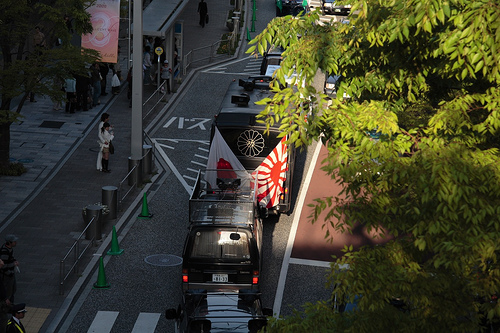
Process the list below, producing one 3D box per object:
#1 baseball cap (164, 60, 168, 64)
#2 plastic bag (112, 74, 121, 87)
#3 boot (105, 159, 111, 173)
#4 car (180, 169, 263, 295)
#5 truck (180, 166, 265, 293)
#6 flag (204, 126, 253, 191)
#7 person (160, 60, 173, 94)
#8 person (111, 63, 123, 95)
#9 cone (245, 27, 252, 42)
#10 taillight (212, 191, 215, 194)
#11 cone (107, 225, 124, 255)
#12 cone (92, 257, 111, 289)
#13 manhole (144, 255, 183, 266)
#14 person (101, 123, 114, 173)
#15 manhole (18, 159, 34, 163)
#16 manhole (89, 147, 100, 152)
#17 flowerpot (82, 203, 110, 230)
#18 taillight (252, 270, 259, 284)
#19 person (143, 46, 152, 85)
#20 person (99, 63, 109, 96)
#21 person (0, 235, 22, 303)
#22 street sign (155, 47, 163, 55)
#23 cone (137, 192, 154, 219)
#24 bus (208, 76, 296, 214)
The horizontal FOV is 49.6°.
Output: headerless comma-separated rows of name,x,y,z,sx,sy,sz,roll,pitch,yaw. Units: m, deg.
baseball cap,-4.579,-5.747,29.492,0.214,0.170,0.309,3,19,-9
plastic bag,-7.264,-4.686,29.236,0.363,0.641,0.370,2,18,-13
boot,-5.750,-0.086,21.881,0.180,0.552,0.294,2,18,-10
car,-0.740,1.503,14.691,1.895,2.110,3.600,1,51,-1
truck,-0.723,1.472,15.033,2.018,2.184,3.786,2,42,-2
flag,-0.629,-0.260,17.540,1.807,2.080,0.211,3,2,3
person,-4.626,-4.923,29.608,0.642,1.803,0.991,6,18,2
person,-7.410,-4.835,30.042,0.656,2.125,0.658,3,60,-7
cone,-0.143,-10.212,41.755,0.682,0.829,0.631,13,46,19
taillight,-1.061,0.745,15.719,0.059,0.067,0.015,3,-8,-7
cone,-4.287,2.381,17.202,0.489,0.893,0.553,4,24,6
cone,-4.173,2.926,15.215,0.494,1.025,0.510,-7,22,-34
manhole,-2.680,2.854,16.585,1.136,0.108,0.560,5,19,-5
person,-5.713,-0.795,21.533,0.436,2.112,0.729,0,18,-16
manhole,-9.298,-0.254,22.381,0.599,0.057,0.328,4,19,-8
manhole,-6.808,-0.777,23.766,0.274,0.060,0.293,2,25,3
flowerpot,-5.162,1.584,18.058,0.872,0.710,0.888,2,24,1
taillight,0.153,2.781,13.624,0.154,0.347,0.067,4,17,-5
person,-5.898,-5.830,31.163,0.472,2.125,0.994,2,18,-12
person,-7.873,-4.713,29.074,0.421,1.544,1.597,-10,66,-12
person,-6.082,2.765,13.680,0.398,1.949,0.655,-3,19,-25
street sign,-4.826,-6.147,28.572,0.360,0.424,0.480,3,19,-10
cone,-3.619,1.249,18.838,0.490,1.027,0.792,9,18,11
bus,0.343,-1.925,19.393,2.493,2.676,5.341,2,58,2
